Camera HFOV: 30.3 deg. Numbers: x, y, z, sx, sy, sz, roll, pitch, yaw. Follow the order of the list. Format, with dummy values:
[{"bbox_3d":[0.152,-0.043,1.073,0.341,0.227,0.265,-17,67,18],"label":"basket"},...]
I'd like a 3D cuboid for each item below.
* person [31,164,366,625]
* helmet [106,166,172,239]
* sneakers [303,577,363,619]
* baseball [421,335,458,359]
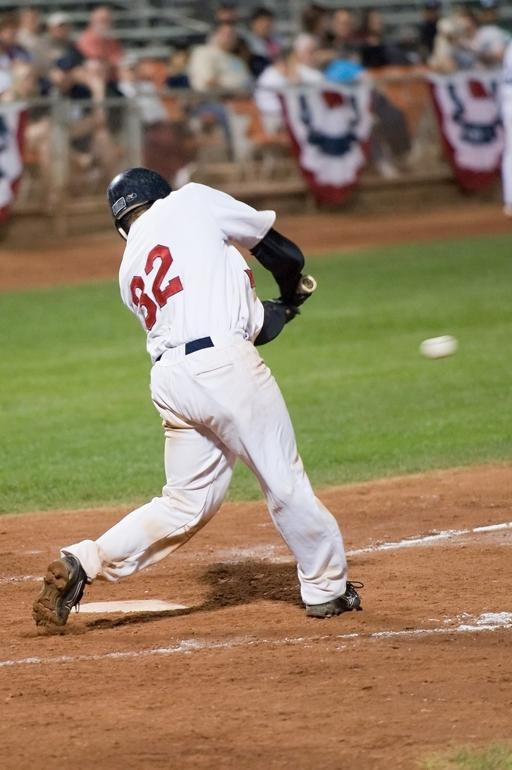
[{"bbox_3d":[-0.229,0.046,3.284,0.997,1.628,0.537,-7,9,4],"label":"person"},{"bbox_3d":[-0.409,-0.660,3.423,0.217,0.216,0.266,-14,-1,-33],"label":"helmet"},{"bbox_3d":[0.301,0.753,3.381,0.252,0.097,0.087,-10,17,-36],"label":"sneakers"},{"bbox_3d":[1.138,-0.251,5.768,0.208,0.091,0.198,-10,1,32],"label":"baseball"}]
